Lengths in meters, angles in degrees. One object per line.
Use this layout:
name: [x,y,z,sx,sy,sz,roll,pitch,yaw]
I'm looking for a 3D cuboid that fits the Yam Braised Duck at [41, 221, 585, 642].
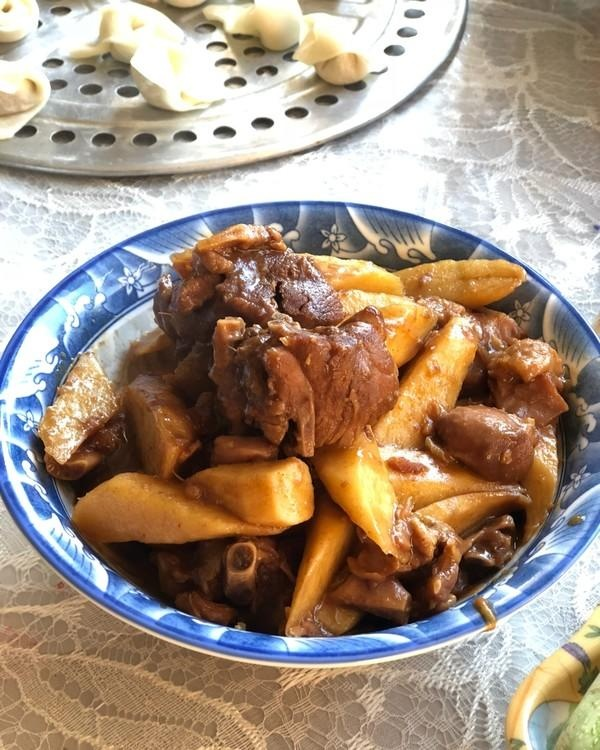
Yam Braised Duck: [0.044,0.032,1.391,0.860,0.367,0.887,32,54,21]
